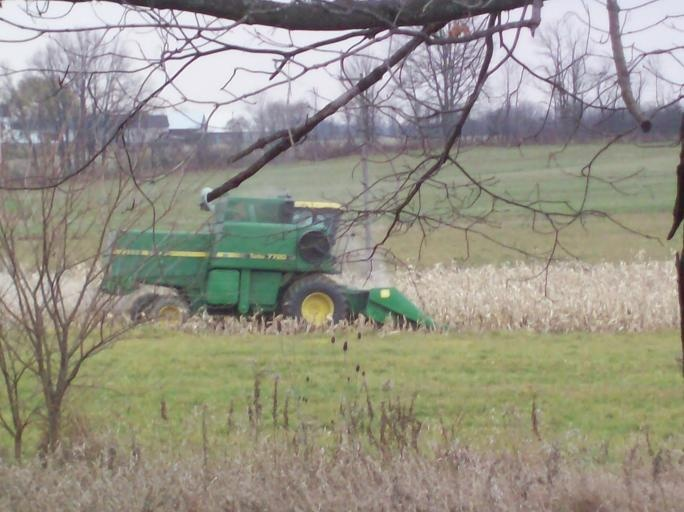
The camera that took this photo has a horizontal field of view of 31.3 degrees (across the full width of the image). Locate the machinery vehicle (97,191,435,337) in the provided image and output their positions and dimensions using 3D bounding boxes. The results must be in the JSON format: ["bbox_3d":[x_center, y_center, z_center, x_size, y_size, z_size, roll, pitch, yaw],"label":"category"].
[{"bbox_3d":[-1.032,0.060,18.790,4.712,2.162,1.615,1,7,-11],"label":"machinery vehicle"}]
